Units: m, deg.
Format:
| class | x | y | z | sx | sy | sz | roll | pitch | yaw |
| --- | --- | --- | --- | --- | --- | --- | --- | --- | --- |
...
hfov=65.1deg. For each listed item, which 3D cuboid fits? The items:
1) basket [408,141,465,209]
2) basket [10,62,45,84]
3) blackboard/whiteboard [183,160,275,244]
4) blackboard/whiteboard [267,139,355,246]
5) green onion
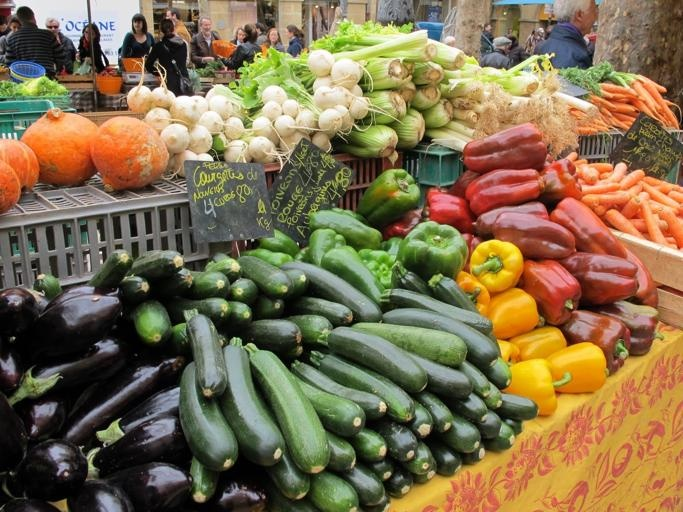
| class | x | y | z | sx | sy | sz | roll | pitch | yaw |
| --- | --- | --- | --- | --- | --- | --- | --- | --- | --- |
| basket | 0.698 | -0.685 | 4.321 | 0.425 | 0.490 | 0.375 | -11 | 21 | -31 |
| basket | -6.033 | -3.557 | 10.301 | 0.570 | 0.371 | 1.081 | -7 | 19 | -30 |
| blackboard/whiteboard | -0.761 | -0.402 | 3.475 | 0.561 | 0.502 | 0.469 | -8 | 16 | -28 |
| blackboard/whiteboard | -0.272 | -0.454 | 3.749 | 0.691 | 0.653 | 0.187 | 36 | -9 | -33 |
| green onion | 1.506 | -1.240 | 4.695 | 1.726 | 0.811 | 0.899 | 16 | 24 | 41 |
